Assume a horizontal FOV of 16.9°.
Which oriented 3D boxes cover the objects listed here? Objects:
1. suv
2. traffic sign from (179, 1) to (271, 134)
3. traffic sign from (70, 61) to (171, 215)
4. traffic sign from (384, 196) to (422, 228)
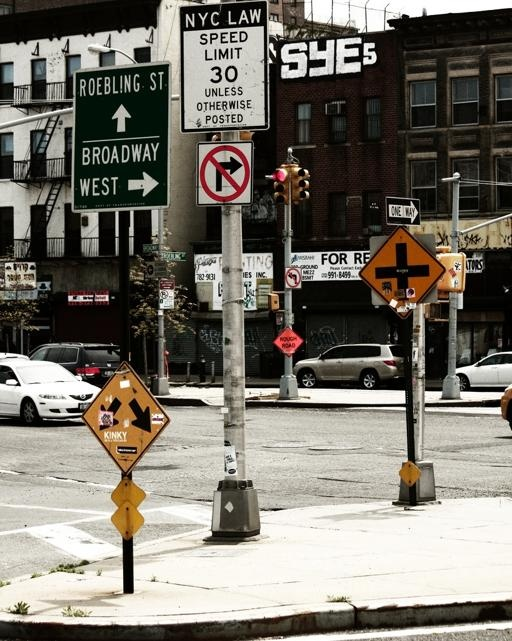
[{"bbox_3d":[2.366,1.019,43.701,2.373,1.196,1.194,2,-2,28],"label":"suv"},{"bbox_3d":[-0.298,-2.390,16.747,0.967,1.769,0.028,0,0,22],"label":"traffic sign"},{"bbox_3d":[-1.215,-1.584,15.615,0.922,1.544,0.016,-5,38,-13],"label":"traffic sign"},{"bbox_3d":[1.617,-1.162,19.247,0.304,0.269,0.884,-1,0,11],"label":"traffic sign"}]
